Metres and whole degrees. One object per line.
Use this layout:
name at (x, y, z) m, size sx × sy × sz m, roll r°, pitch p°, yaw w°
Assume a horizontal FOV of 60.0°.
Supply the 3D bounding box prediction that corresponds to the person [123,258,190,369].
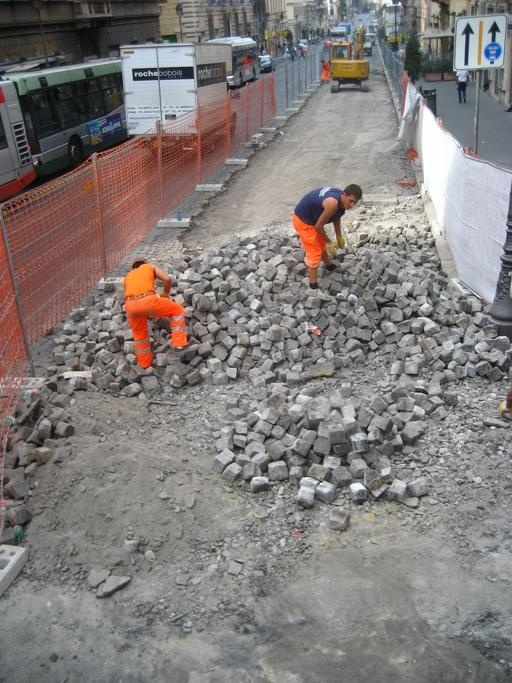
person at (-1.228, -0.368, 5.483) m, size 0.690 × 1.279 × 0.669 m, roll -7°, pitch 14°, yaw -12°

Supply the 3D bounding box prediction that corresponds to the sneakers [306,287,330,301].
sneakers at (0.793, -0.598, 5.654) m, size 0.249 × 0.100 × 0.143 m, roll 12°, pitch 35°, yaw 4°

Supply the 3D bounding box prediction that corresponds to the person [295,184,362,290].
person at (0.923, -1.410, 6.009) m, size 0.816 × 1.278 × 0.946 m, roll -3°, pitch 14°, yaw 6°
